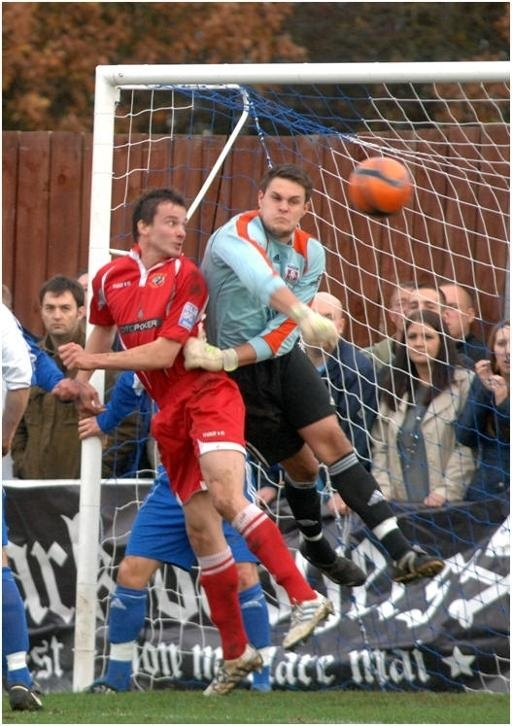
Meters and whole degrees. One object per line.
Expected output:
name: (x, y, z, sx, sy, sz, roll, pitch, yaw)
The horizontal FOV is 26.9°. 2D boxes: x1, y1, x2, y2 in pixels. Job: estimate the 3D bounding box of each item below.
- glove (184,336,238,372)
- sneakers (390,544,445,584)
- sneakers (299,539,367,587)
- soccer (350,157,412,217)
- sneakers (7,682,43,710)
glove: (-0.207, -0.036, 4.907, 0.257, 0.157, 0.137, 3, -5, -2)
sneakers: (0.757, 0.949, 5.049, 0.241, 0.091, 0.228, -1, -3, -32)
sneakers: (0.398, 1.055, 5.505, 0.425, 0.153, 0.154, 34, -37, -17)
soccer: (0.582, -0.806, 5.062, 0.333, 0.271, 0.289, 7, 23, 8)
sneakers: (-1.040, 1.509, 4.803, 0.157, 0.127, 0.121, 4, -5, -10)
